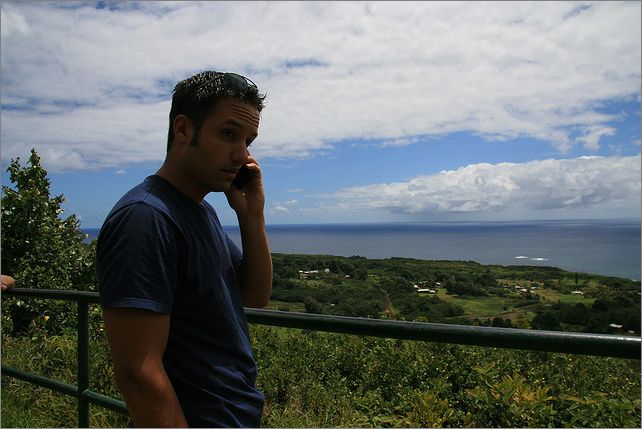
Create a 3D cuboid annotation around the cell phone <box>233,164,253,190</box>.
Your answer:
[{"bbox_3d":[-0.533,-0.251,2.654,0.040,0.153,0.163,20,-25,32],"label":"cell phone"}]
